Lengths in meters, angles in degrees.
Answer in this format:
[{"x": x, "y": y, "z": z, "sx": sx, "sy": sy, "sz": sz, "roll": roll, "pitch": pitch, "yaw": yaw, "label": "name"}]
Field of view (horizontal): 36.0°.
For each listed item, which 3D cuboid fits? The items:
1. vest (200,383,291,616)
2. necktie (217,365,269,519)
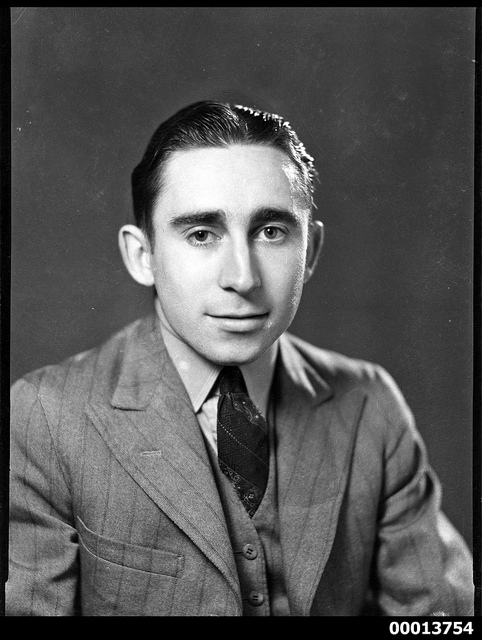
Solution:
[{"x": 0.045, "y": 0.495, "z": 1.956, "sx": 0.217, "sy": 0.602, "sz": 0.111, "roll": -10, "pitch": 0, "yaw": -11, "label": "vest"}, {"x": 0.005, "y": 0.319, "z": 1.951, "sx": 0.126, "sy": 0.472, "sz": 0.052, "roll": 4, "pitch": -24, "yaw": -15, "label": "necktie"}]
